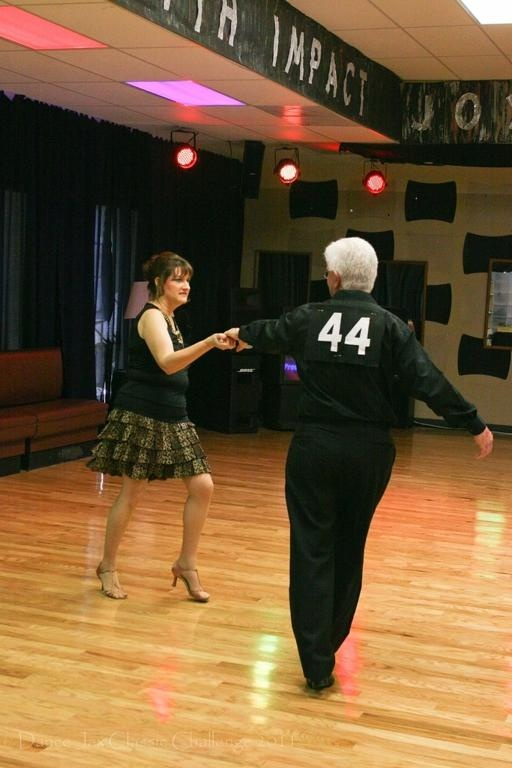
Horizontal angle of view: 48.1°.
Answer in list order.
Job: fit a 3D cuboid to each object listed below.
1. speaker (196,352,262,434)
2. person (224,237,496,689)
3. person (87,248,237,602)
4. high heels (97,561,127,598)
[{"bbox_3d":[-0.327,0.097,7.356,0.350,0.966,1.019,-1,3,-35],"label":"speaker"},{"bbox_3d":[0.277,0.345,1.772,0.699,1.249,0.350,1,-3,38],"label":"person"},{"bbox_3d":[-0.462,0.191,2.571,0.568,1.647,0.840,3,-2,-4],"label":"person"},{"bbox_3d":[-0.706,0.933,2.759,0.085,0.102,0.231,13,1,-41],"label":"high heels"}]
